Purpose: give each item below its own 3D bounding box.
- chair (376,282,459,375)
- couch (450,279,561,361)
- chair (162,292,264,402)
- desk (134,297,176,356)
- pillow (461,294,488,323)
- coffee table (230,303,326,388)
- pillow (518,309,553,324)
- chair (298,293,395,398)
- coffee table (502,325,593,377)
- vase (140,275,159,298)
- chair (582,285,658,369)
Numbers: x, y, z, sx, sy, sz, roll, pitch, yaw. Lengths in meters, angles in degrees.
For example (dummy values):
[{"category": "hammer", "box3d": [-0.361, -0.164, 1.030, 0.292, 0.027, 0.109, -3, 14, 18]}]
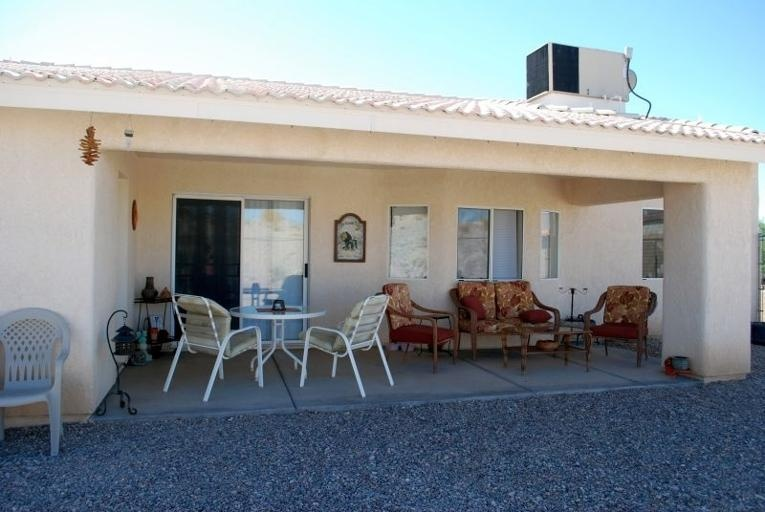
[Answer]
[{"category": "chair", "box3d": [0.557, 1.040, 9.763, 1.034, 1.184, 0.950, 2, 1, 38]}, {"category": "couch", "box3d": [1.982, 1.007, 10.391, 1.629, 1.102, 0.957, 1, 3, -15]}, {"category": "chair", "box3d": [-2.185, 1.097, 8.308, 1.265, 1.240, 1.054, -2, 5, -35]}, {"category": "desk", "box3d": [-3.521, 1.043, 9.826, 0.355, 0.829, 0.583, -14, 10, -34]}, {"category": "pillow", "box3d": [1.452, 0.838, 10.270, 0.392, 0.347, 0.712, 4, 6, 23]}, {"category": "coffee table", "box3d": [-1.461, 1.214, 8.882, 1.099, 0.687, 1.100, -1, -5, 21]}, {"category": "pillow", "box3d": [2.423, 0.970, 10.369, 0.509, 0.190, 0.612, 4, 6, 24]}, {"category": "chair", "box3d": [-0.502, 1.138, 8.611, 1.086, 1.244, 0.878, 4, 3, 35]}, {"category": "coffee table", "box3d": [2.344, 1.296, 9.666, 1.107, 0.522, 0.810, 0, 6, -20]}, {"category": "vase", "box3d": [-3.613, 0.472, 9.728, 0.315, 0.416, 0.313, 0, 0, 35]}, {"category": "chair", "box3d": [3.852, 1.081, 10.247, 1.104, 1.150, 1.051, 0, 0, -39]}]
